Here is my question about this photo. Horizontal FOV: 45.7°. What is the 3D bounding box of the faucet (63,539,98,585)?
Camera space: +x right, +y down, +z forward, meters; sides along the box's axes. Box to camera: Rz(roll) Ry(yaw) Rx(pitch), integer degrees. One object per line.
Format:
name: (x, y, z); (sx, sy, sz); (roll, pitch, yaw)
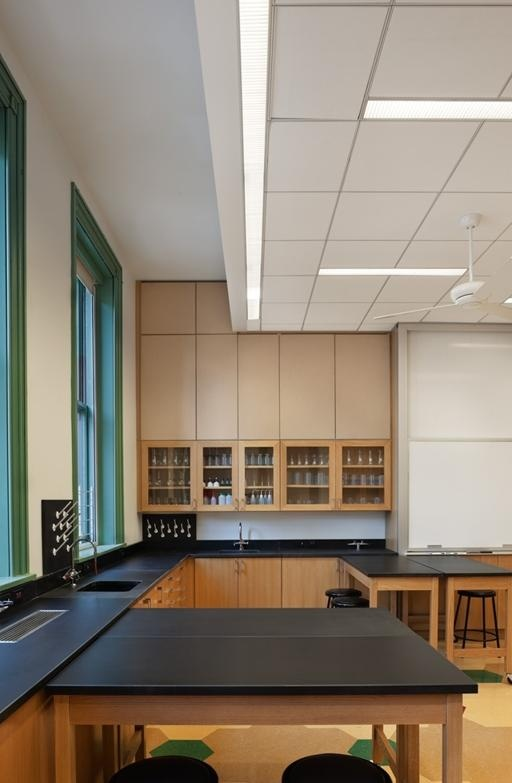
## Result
faucet: (-1.062, 1.012, 3.699); (0.181, 0.262, 0.160); (8, -10, -27)

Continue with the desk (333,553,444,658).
desk: (1.255, 1.951, 5.193); (0.590, 0.929, 1.728); (-4, -20, 13)

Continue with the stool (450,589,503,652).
stool: (1.926, 2.011, 5.308); (0.277, 0.564, 0.303); (2, -12, 14)
